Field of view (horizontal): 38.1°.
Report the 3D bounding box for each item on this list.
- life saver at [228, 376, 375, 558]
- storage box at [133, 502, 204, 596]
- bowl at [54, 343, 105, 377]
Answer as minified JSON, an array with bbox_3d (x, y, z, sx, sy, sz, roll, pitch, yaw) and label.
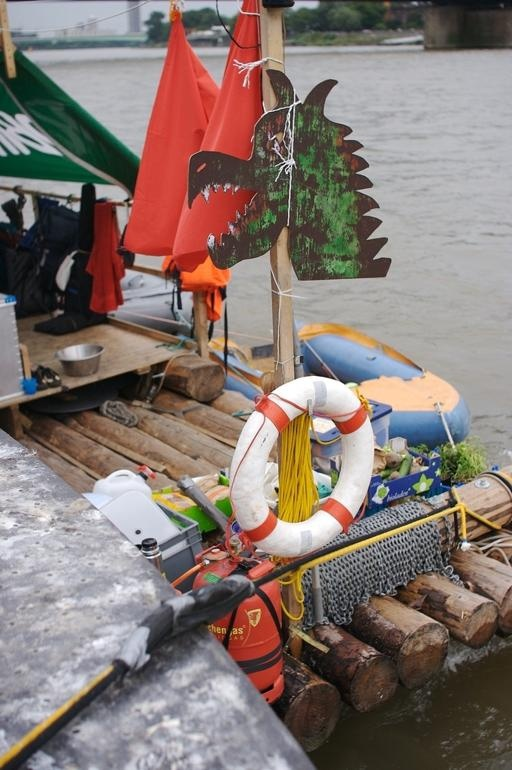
[{"bbox_3d":[0.210,0.365,3.185,0.691,0.798,0.141,-10,14,-29],"label":"life saver"},{"bbox_3d":[-0.422,0.887,4.063,0.357,0.170,0.344,-22,-3,-2],"label":"storage box"},{"bbox_3d":[-1.719,-0.239,7.267,0.426,0.266,0.522,-5,11,-12],"label":"bowl"}]
